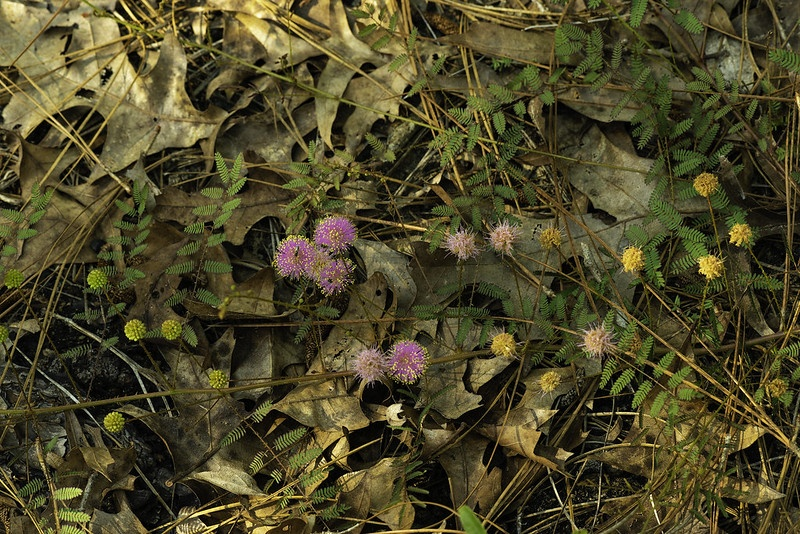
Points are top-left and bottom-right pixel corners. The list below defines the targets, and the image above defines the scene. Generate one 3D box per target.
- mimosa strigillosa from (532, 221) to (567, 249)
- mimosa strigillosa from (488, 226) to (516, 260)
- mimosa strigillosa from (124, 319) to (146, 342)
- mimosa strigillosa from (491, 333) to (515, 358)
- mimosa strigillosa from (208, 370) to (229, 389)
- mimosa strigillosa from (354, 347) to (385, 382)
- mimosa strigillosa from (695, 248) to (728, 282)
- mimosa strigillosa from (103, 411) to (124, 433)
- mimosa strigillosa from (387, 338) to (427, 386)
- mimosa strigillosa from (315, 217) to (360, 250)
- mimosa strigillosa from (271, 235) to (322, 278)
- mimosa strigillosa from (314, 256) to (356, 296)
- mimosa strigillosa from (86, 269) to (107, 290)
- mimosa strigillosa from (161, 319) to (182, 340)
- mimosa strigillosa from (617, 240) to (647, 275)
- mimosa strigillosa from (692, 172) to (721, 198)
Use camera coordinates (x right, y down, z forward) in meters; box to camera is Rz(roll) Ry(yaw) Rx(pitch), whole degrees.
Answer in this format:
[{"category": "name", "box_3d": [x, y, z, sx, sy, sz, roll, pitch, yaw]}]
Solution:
[{"category": "mimosa strigillosa", "box_3d": [1.225, -0.266, 6.278, 0.198, 0.215, 0.209, 5, 65, -10]}, {"category": "mimosa strigillosa", "box_3d": [0.832, -0.229, 6.293, 0.213, 0.234, 0.230, -11, 110, -15]}, {"category": "mimosa strigillosa", "box_3d": [-2.137, 0.508, 6.247, 0.147, 0.164, 0.184, -4, 105, -4]}, {"category": "mimosa strigillosa", "box_3d": [0.811, 0.612, 6.146, 0.156, 0.181, 0.166, -16, 110, -13]}, {"category": "mimosa strigillosa", "box_3d": [-1.455, 0.902, 6.155, 0.153, 0.103, 0.175, 16, 64, -1]}, {"category": "mimosa strigillosa", "box_3d": [-0.233, 0.769, 6.197, 0.221, 0.243, 0.267, -2, 88, 9]}, {"category": "mimosa strigillosa", "box_3d": [2.421, -0.012, 6.009, 0.220, 0.151, 0.241, -28, 50, 11]}, {"category": "mimosa strigillosa", "box_3d": [-2.286, 1.239, 6.213, 0.161, 0.177, 0.182, -1, 95, 2]}, {"category": "mimosa strigillosa", "box_3d": [0.070, 0.752, 6.195, 0.358, 0.216, 0.379, -6, 23, 39]}, {"category": "mimosa strigillosa", "box_3d": [-0.561, -0.334, 6.321, 0.337, 0.372, 0.164, -12, 75, 15]}, {"category": "mimosa strigillosa", "box_3d": [-0.829, -0.061, 6.312, 0.373, 0.297, 0.318, 6, 62, 2]}, {"category": "mimosa strigillosa", "box_3d": [-0.548, 0.061, 6.285, 0.306, 0.198, 0.318, -22, 23, -26]}, {"category": "mimosa strigillosa", "box_3d": [-2.480, 0.104, 6.392, 0.150, 0.088, 0.160, -28, 79, 1]}, {"category": "mimosa strigillosa", "box_3d": [-1.840, 0.496, 6.271, 0.155, 0.104, 0.161, -32, 99, 4]}, {"category": "mimosa strigillosa", "box_3d": [1.819, -0.071, 6.081, 0.188, 0.122, 0.226, -4, 103, -8]}, {"category": "mimosa strigillosa", "box_3d": [2.399, -0.656, 6.096, 0.190, 0.149, 0.199, 42, 107, 9]}]
